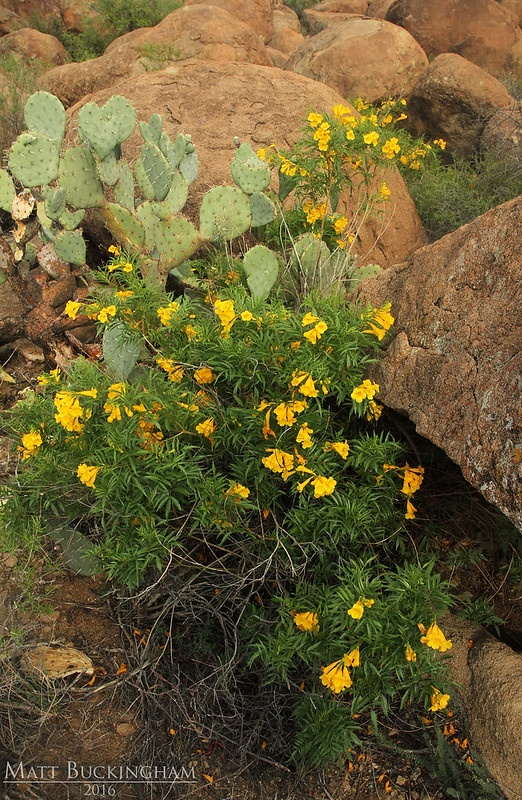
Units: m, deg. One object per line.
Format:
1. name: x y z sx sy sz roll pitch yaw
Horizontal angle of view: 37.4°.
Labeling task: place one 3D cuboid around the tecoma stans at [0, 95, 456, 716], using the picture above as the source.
1. tecoma stans: -0.310 -0.149 3.522 2.563 1.232 2.446 -3 97 -17
